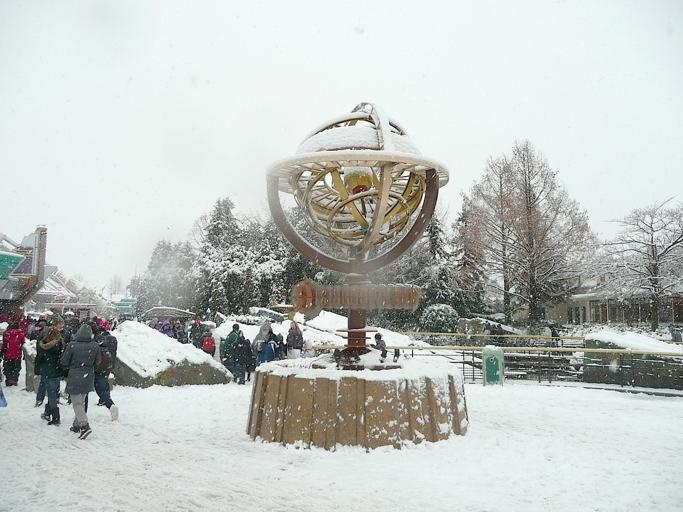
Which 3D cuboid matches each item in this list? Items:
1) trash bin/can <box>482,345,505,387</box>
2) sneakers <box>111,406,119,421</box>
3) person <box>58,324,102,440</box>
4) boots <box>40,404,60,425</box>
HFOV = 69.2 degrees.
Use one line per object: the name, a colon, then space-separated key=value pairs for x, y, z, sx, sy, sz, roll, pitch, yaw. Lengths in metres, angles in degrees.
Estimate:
trash bin/can: x=4.688 y=3.355 z=15.256 sx=0.611 sy=1.137 sz=0.612 roll=0 pitch=0 yaw=12
sneakers: x=-4.698 y=3.256 z=10.301 sx=0.125 sy=0.312 sz=0.129 roll=3 pitch=-4 yaw=-19
person: x=-5.067 y=2.394 z=9.661 sx=0.657 sy=2.050 sz=1.124 roll=0 pitch=0 yaw=-35
boots: x=-5.953 y=3.225 z=10.162 sx=0.283 sy=0.389 sz=0.669 roll=0 pitch=0 yaw=-35
